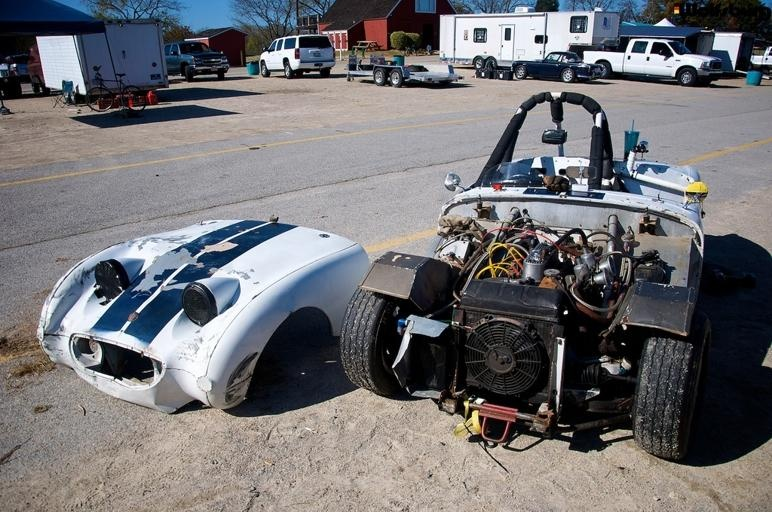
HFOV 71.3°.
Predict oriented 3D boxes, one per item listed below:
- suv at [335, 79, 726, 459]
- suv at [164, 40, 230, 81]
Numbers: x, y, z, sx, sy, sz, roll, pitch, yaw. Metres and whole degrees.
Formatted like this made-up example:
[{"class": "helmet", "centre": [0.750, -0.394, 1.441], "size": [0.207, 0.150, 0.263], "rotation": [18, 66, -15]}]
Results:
[{"class": "suv", "centre": [1.895, 0.176, 5.414], "size": [2.412, 2.046, 4.133], "rotation": [9, 35, 29]}, {"class": "suv", "centre": [-11.025, -11.676, 31.761], "size": [2.610, 2.110, 3.557], "rotation": [-15, 27, -32]}]
